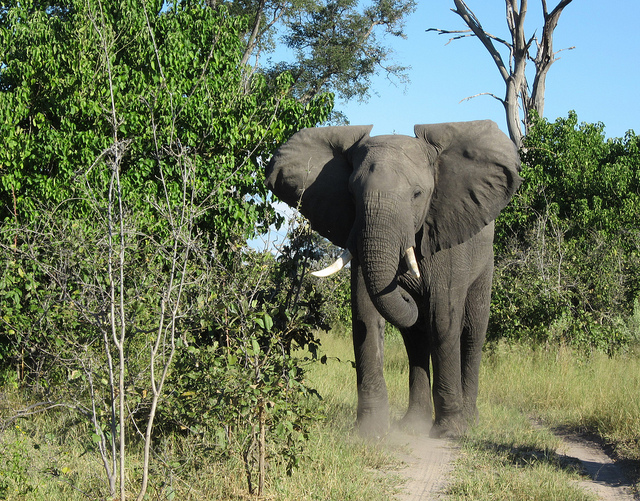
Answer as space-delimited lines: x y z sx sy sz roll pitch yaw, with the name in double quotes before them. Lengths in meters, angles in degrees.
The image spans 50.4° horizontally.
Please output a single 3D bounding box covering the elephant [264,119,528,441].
"elephant" 1.241 0.137 9.654 2.278 4.134 3.666 0 2 26
